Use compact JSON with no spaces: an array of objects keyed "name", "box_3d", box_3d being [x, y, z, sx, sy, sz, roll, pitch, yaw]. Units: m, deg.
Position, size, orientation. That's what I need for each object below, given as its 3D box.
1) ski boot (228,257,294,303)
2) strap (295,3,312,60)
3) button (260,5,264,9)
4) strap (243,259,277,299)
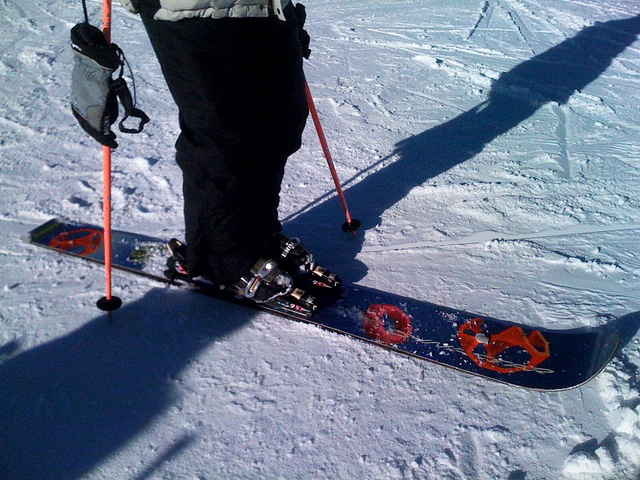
[{"name":"ski boot","box_3d":[-0.486,0.363,5.144,0.589,0.207,0.295,-3,92,-5]},{"name":"strap","box_3d":[-0.155,-1.702,4.935,0.184,0.452,0.122,0,23,-4]},{"name":"button","box_3d":[-0.422,-1.687,4.342,0.030,0.026,0.011,-4,52,-23]},{"name":"strap","box_3d":[-0.521,0.346,5.223,0.155,0.109,0.488,16,32,7]}]
